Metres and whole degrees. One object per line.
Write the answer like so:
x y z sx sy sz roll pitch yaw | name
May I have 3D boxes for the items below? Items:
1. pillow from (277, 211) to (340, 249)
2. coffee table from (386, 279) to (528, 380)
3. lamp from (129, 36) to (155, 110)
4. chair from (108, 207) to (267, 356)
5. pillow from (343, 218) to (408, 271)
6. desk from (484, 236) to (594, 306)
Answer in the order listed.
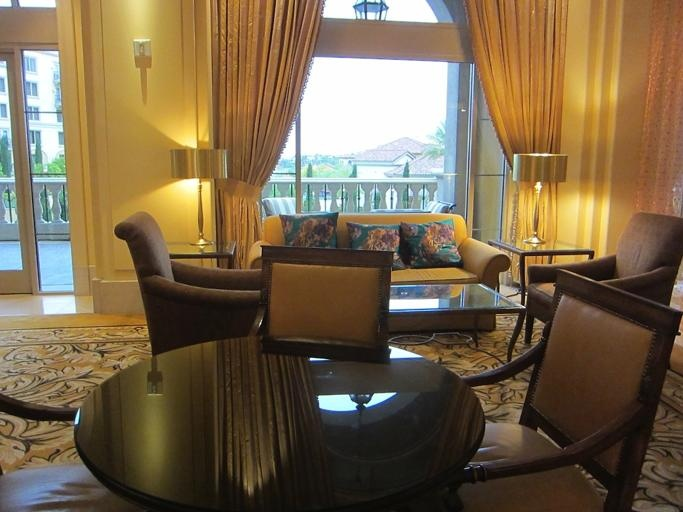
-0.263 -0.203 4.423 0.398 0.328 0.142 2 -22 -8 | pillow
0.711 0.530 3.874 0.904 0.446 0.572 0 26 -5 | coffee table
-1.616 -1.518 4.465 0.154 0.525 0.059 -4 9 -21 | lamp
-0.817 0.261 3.403 1.097 0.964 0.840 2 9 -5 | chair
0.301 -0.062 4.599 0.486 0.450 0.176 -2 -11 -4 | pillow
1.697 -0.042 4.798 0.639 0.717 0.791 -4 12 -13 | desk
